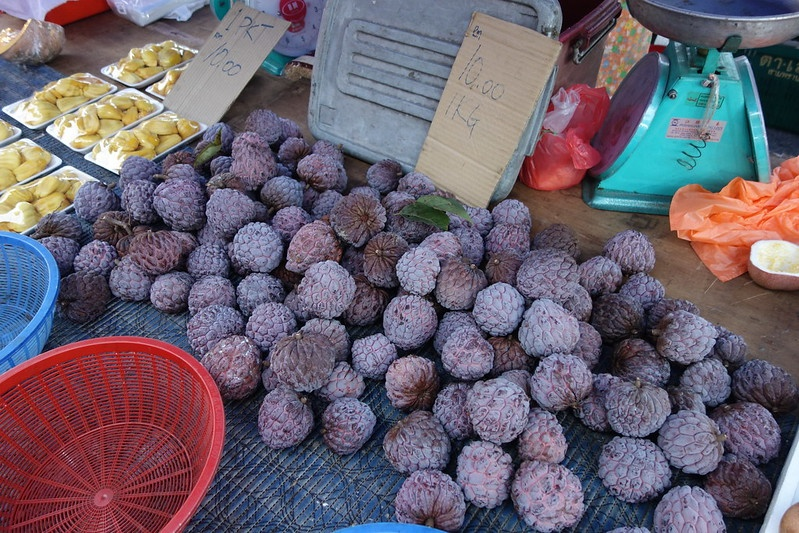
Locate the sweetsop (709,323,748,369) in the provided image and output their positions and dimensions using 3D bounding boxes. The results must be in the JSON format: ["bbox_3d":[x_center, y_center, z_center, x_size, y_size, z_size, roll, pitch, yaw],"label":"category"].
[{"bbox_3d":[1.364,0.339,2.484,0.137,0.170,0.158,0,83,31],"label":"sweetsop"}]

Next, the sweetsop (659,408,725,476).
[{"bbox_3d":[1.159,0.677,2.357,0.244,0.266,0.309,-4,87,35],"label":"sweetsop"}]

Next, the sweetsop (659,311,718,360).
[{"bbox_3d":[1.165,0.289,2.435,0.208,0.186,0.200,11,86,-1],"label":"sweetsop"}]
